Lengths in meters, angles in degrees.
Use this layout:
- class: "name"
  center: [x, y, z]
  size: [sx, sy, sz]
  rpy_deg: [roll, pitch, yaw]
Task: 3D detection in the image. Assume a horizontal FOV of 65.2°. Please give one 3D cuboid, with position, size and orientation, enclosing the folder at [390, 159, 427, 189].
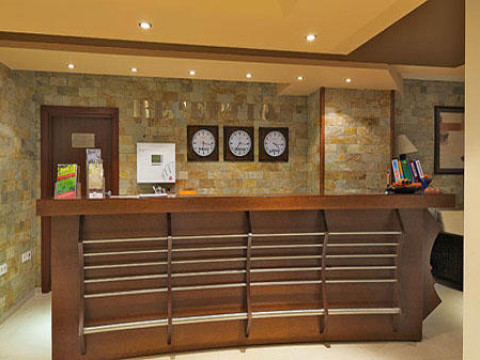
- class: "folder"
  center: [2.098, -0.071, 4.716]
  size: [0.318, 0.418, 0.226]
  rpy_deg: [14, -20, -41]

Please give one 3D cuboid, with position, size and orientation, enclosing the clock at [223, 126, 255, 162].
- class: "clock"
  center: [-0.037, -0.635, 6.380]
  size: [0.583, 0.690, 0.078]
  rpy_deg: [0, 0, -11]

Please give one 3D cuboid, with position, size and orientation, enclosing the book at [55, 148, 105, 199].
- class: "book"
  center: [-1.697, -0.061, 3.977]
  size: [0.474, 0.511, 0.309]
  rpy_deg: [-4, 4, -17]

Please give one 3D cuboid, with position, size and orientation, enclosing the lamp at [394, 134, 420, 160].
- class: "lamp"
  center: [2.853, -0.580, 6.468]
  size: [0.316, 0.431, 0.584]
  rpy_deg: [-1, 5, 23]

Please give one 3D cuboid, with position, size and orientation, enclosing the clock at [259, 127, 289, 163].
- class: "clock"
  center: [0.563, -0.631, 6.490]
  size: [0.569, 0.652, 0.068]
  rpy_deg: [1, -4, -14]

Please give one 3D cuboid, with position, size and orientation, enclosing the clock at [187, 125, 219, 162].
- class: "clock"
  center: [-0.639, -0.631, 6.263]
  size: [0.577, 0.670, 0.068]
  rpy_deg: [0, -2, -11]

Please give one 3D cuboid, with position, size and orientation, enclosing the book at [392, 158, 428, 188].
- class: "book"
  center: [2.082, -0.093, 4.560]
  size: [0.308, 0.438, 0.128]
  rpy_deg: [-4, -13, 4]
